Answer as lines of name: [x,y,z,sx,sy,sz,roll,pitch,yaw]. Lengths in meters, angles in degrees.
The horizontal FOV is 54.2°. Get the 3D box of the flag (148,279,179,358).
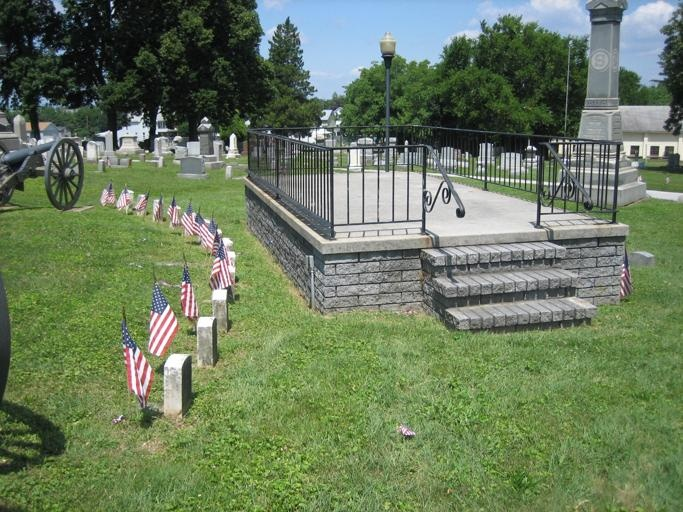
flag: [-2.411,0.838,9.031,0.369,1.052,0.326,-3,13,-17]
